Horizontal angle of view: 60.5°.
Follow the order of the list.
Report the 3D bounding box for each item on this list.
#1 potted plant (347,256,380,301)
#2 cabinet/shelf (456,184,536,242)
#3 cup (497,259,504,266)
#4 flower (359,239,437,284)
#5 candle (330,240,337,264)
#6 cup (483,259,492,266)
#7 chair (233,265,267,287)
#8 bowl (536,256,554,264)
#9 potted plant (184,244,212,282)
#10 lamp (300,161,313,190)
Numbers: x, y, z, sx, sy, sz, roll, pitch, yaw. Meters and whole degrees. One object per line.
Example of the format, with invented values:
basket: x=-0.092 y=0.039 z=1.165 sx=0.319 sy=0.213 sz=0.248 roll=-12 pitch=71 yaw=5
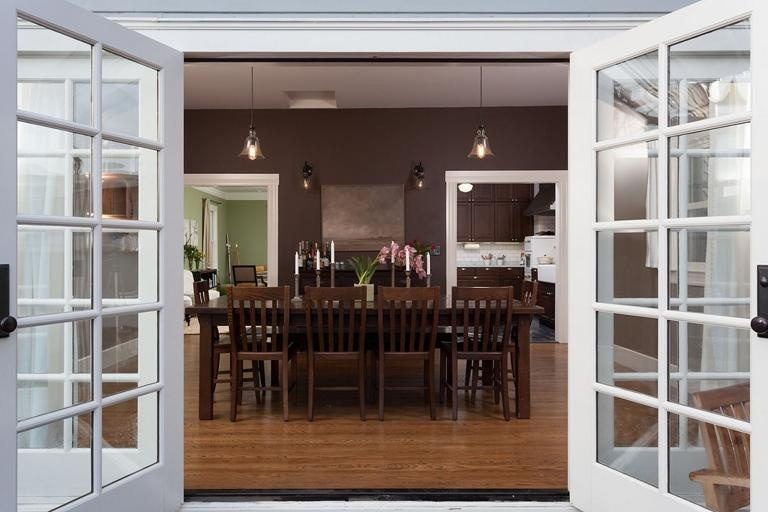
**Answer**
potted plant: x=-0.115 y=0.156 z=5.547 sx=0.342 sy=0.495 sz=0.436 roll=-1 pitch=0 yaw=-8
cabinet/shelf: x=1.777 y=-0.680 z=10.501 sx=1.199 sy=0.906 sz=0.283 roll=1 pitch=7 yaw=7
cup: x=1.895 y=0.108 z=10.671 sx=0.091 sy=0.089 sz=0.092 roll=1 pitch=5 yaw=0
flower: x=0.159 y=0.059 z=6.550 sx=0.479 sy=0.492 sz=0.200 roll=1 pitch=6 yaw=7
candle: x=-0.420 y=-0.020 z=5.382 sx=0.021 sy=0.168 sz=0.128 roll=-2 pitch=7 yaw=-14
cup: x=1.688 y=0.116 z=10.617 sx=0.082 sy=0.064 sz=0.083 roll=0 pitch=-1 yaw=0
chair: x=-2.061 y=0.315 z=10.043 sx=0.344 sy=0.533 sz=0.371 roll=1 pitch=3 yaw=4
bowl: x=2.324 y=0.065 z=9.466 sx=0.228 sy=0.117 sz=0.229 roll=0 pitch=7 yaw=0
potted plant: x=-3.034 y=0.112 z=10.688 sx=0.260 sy=0.616 sz=0.642 roll=-1 pitch=-3 yaw=6
lamp: x=-0.864 y=-0.916 z=7.516 sx=0.132 sy=0.327 sz=0.222 roll=-1 pitch=7 yaw=-7
